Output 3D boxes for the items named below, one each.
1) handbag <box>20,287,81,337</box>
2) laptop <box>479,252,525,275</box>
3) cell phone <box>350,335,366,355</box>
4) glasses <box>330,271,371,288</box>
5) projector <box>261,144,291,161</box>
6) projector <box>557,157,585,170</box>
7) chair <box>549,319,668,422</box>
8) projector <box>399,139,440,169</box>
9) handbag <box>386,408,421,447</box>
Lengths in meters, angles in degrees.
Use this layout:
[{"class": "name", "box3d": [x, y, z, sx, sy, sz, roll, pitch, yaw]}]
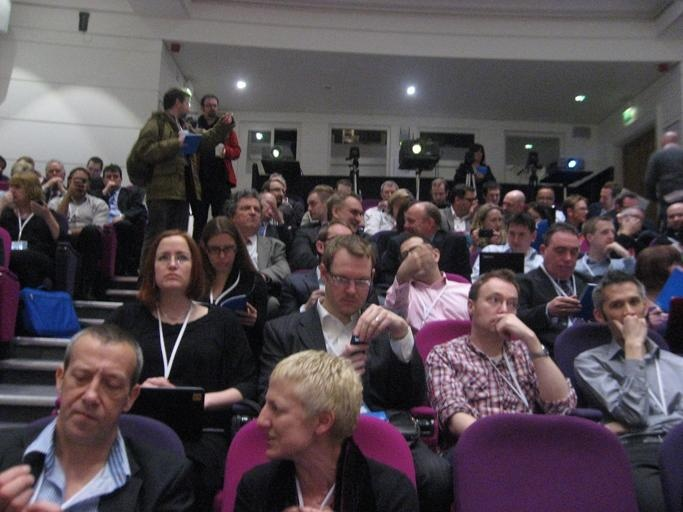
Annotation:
[{"class": "handbag", "box3d": [-2.258, 0.491, 4.698, 0.251, 0.485, 0.495, -22, -21, 31]}, {"class": "laptop", "box3d": [1.199, 0.045, 4.527, 0.288, 0.235, 0.220, 2, 1, -1]}, {"class": "cell phone", "box3d": [0.078, 0.415, 2.815, 0.073, 0.086, 0.065, 4, 5, 1]}, {"class": "glasses", "box3d": [0.040, 0.122, 2.991, 0.200, 0.063, 0.059, 4, 5, -2]}, {"class": "projector", "box3d": [-1.064, -1.713, 9.942, 0.370, 0.214, 0.551, -1, 2, -2]}, {"class": "projector", "box3d": [4.141, -1.673, 10.852, 0.381, 0.216, 0.307, -1, -7, 16]}, {"class": "chair", "box3d": [1.454, 0.593, 3.363, 0.345, 0.520, 0.427, -2, -22, -2]}, {"class": "projector", "box3d": [1.242, -1.624, 9.790, 0.497, 0.357, 0.548, 1, -26, -3]}, {"class": "handbag", "box3d": [0.277, 0.787, 2.727, 0.153, 0.097, 0.217, -6, 21, -6]}]
